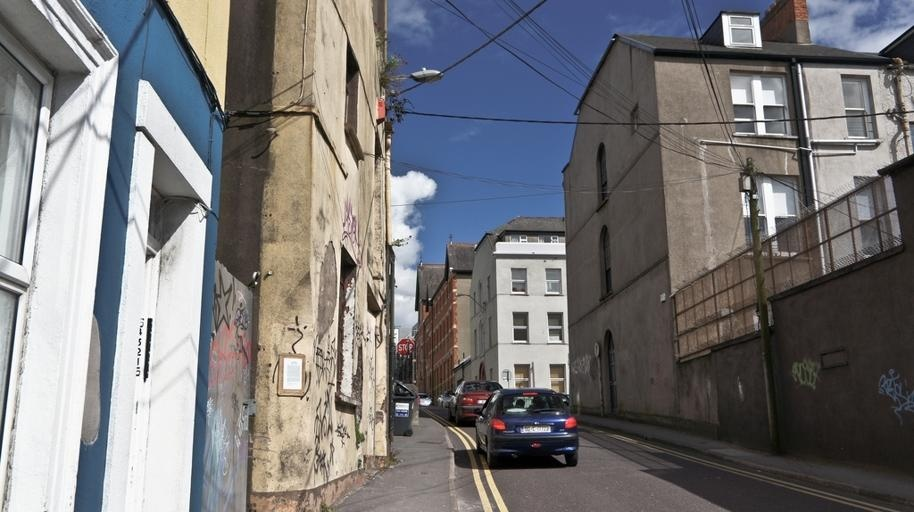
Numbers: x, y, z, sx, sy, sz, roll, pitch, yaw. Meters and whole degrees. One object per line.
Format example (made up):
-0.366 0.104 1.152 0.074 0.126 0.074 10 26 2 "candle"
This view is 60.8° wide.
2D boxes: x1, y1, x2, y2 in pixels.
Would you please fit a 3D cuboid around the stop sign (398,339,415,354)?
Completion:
-2.215 3.884 33.280 0.496 0.702 1.586 -1 -5 3 "stop sign"

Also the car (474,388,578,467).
1.635 4.242 18.985 1.949 1.574 4.209 1 -8 0 "car"
